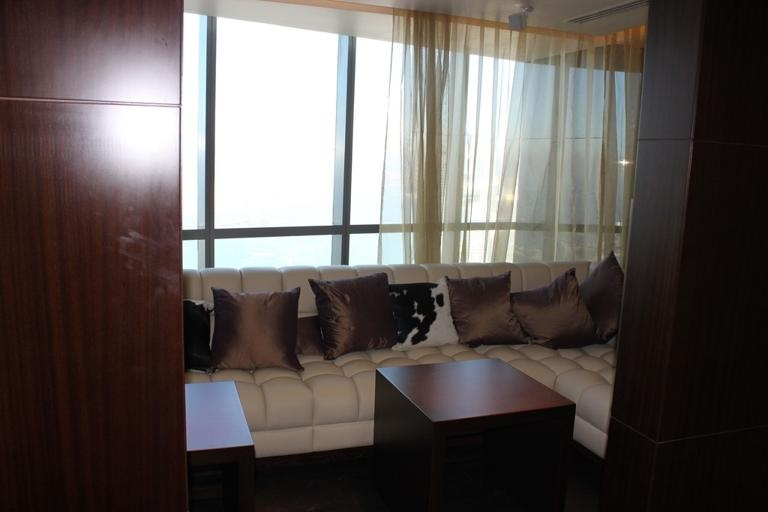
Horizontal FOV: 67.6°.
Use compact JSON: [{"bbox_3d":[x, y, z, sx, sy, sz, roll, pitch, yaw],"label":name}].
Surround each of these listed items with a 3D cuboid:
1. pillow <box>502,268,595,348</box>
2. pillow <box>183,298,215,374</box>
[{"bbox_3d":[1.051,0.341,3.635,0.471,0.480,0.145,-20,0,5],"label":"pillow"},{"bbox_3d":[-1.011,0.435,3.149,0.145,0.365,0.243,-6,8,-11],"label":"pillow"}]
